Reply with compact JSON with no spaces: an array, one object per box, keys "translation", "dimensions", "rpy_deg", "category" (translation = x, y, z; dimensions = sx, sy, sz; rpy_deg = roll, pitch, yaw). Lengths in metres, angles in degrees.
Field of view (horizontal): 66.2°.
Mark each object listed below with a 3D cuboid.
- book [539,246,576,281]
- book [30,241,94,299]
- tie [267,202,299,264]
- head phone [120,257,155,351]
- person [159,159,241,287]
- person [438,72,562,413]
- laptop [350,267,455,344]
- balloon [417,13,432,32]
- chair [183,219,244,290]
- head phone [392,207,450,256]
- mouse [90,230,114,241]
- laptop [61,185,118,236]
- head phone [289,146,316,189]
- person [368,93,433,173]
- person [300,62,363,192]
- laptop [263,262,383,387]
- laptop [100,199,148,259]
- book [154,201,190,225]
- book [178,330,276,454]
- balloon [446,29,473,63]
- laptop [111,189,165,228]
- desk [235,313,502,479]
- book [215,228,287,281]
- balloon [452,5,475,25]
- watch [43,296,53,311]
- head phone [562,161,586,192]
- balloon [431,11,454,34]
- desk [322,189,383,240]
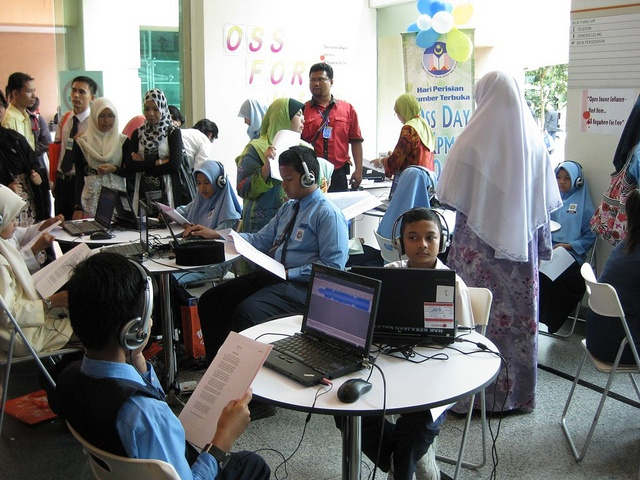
[{"translation":[1.838,0.193,3.831],"dimensions":[0.272,0.191,0.073],"rpy_deg":[-46,1,-15],"category":"book"},{"translation":[-1.333,0.152,2.538],"dimensions":[0.220,0.069,0.217],"rpy_deg":[-33,21,1],"category":"book"},{"translation":[-0.201,-0.052,3.215],"dimensions":[0.099,0.361,0.260],"rpy_deg":[21,-1,7],"category":"tie"},{"translation":[-0.593,0.224,1.607],"dimensions":[0.104,0.318,0.220],"rpy_deg":[-5,17,-18],"category":"head phone"},{"translation":[-0.910,-0.180,3.874],"dimensions":[0.679,0.864,0.505],"rpy_deg":[4,-2,-36],"category":"person"},{"translation":[1.158,-0.164,3.045],"dimensions":[0.645,1.675,0.603],"rpy_deg":[-7,22,10],"category":"person"},{"translation":[0.396,0.232,2.266],"dimensions":[0.434,0.393,0.351],"rpy_deg":[-2,23,8],"category":"laptop"},{"translation":[1.241,-2.572,5.853],"dimensions":[0.126,0.185,0.304],"rpy_deg":[-4,18,-16],"category":"balloon"},{"translation":[-0.854,0.132,4.000],"dimensions":[0.407,0.529,0.581],"rpy_deg":[-1,-1,12],"category":"chair"},{"translation":[0.543,-0.041,2.646],"dimensions":[0.336,0.308,0.127],"rpy_deg":[-2,20,-2],"category":"head phone"},{"translation":[-1.570,-0.037,3.563],"dimensions":[0.116,0.042,0.070],"rpy_deg":[-3,21,-21],"category":"mouse"},{"translation":[-1.771,-0.240,3.793],"dimensions":[0.366,0.326,0.467],"rpy_deg":[-3,13,-30],"category":"laptop"},{"translation":[-0.111,-0.439,3.049],"dimensions":[0.077,0.208,0.213],"rpy_deg":[-25,9,-4],"category":"head phone"},{"translation":[0.797,-0.946,4.567],"dimensions":[0.447,0.748,0.452],"rpy_deg":[11,19,31],"category":"person"},{"translation":[0.097,-0.895,5.481],"dimensions":[0.741,2.006,0.590],"rpy_deg":[-5,31,-4],"category":"person"},{"translation":[-0.018,0.328,2.000],"dimensions":[0.374,0.346,0.424],"rpy_deg":[-6,10,-38],"category":"laptop"},{"translation":[-1.282,-0.080,3.270],"dimensions":[0.290,0.334,0.471],"rpy_deg":[-3,9,-28],"category":"laptop"},{"translation":[-1.152,-0.206,3.846],"dimensions":[0.323,0.032,0.450],"rpy_deg":[33,-3,-3],"category":"book"},{"translation":[-0.331,0.519,1.699],"dimensions":[0.272,0.290,0.187],"rpy_deg":[-15,23,-42],"category":"book"},{"translation":[1.617,-2.260,5.736],"dimensions":[0.315,0.362,0.215],"rpy_deg":[11,19,30],"category":"balloon"},{"translation":[-1.510,-0.211,3.919],"dimensions":[0.337,0.356,0.511],"rpy_deg":[-4,11,-26],"category":"laptop"},{"translation":[0.294,0.543,1.869],"dimensions":[0.724,0.538,0.763],"rpy_deg":[0,8,0],"category":"desk"},{"translation":[-0.395,0.061,2.946],"dimensions":[0.276,0.200,0.637],"rpy_deg":[-6,18,-20],"category":"book"},{"translation":[1.656,-2.617,5.715],"dimensions":[0.230,0.222,0.129],"rpy_deg":[1,17,2],"category":"balloon"},{"translation":[-1.450,0.336,2.646],"dimensions":[0.033,0.055,0.057],"rpy_deg":[8,50,-26],"category":"watch"},{"translation":[2.243,-0.552,4.380],"dimensions":[0.192,0.190,0.226],"rpy_deg":[13,0,37],"category":"head phone"},{"translation":[1.415,-2.499,5.680],"dimensions":[0.248,0.230,0.280],"rpy_deg":[5,17,15],"category":"balloon"},{"translation":[0.291,-0.165,4.398],"dimensions":[0.451,0.497,0.372],"rpy_deg":[-5,14,-12],"category":"desk"}]
